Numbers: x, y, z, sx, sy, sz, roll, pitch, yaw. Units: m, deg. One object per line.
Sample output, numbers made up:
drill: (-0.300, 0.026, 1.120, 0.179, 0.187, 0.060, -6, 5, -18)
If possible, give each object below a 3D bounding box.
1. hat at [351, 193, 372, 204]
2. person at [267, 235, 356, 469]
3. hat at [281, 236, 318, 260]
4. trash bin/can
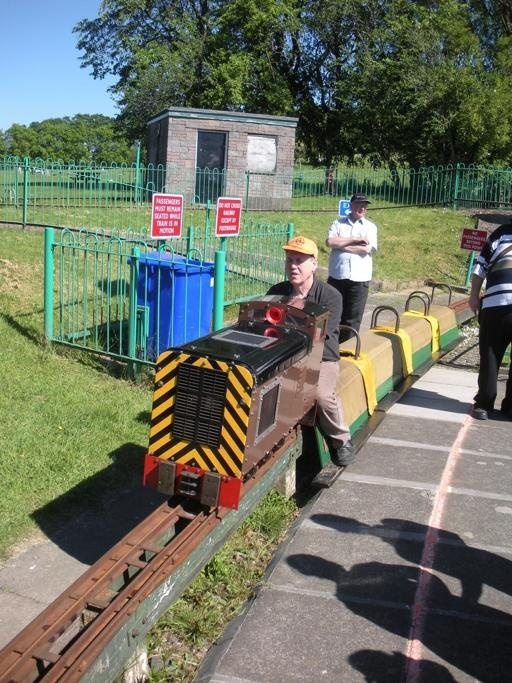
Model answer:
hat: (1.212, -1.667, 6.511, 0.148, 0.092, 0.203, -2, 10, -14)
person: (0.436, 0.098, 3.974, 0.670, 1.630, 0.455, 4, 11, 2)
hat: (0.323, -0.642, 3.781, 0.153, 0.103, 0.205, 11, -11, 37)
trash bin/can: (-0.965, -0.387, 6.397, 0.920, 1.226, 0.571, 2, 11, -9)
